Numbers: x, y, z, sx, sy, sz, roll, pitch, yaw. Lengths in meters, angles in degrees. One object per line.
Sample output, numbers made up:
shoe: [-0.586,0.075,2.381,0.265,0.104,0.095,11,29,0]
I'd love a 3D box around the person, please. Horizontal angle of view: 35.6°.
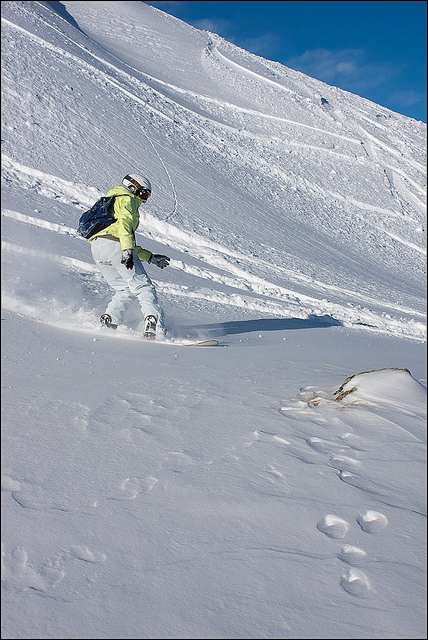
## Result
person: [-0.794,-0.653,6.469,0.689,1.492,0.939,6,10,-26]

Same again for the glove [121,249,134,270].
glove: [-0.811,-0.553,6.230,0.159,0.143,0.064,9,-3,5]

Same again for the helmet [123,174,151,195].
helmet: [-0.764,-1.341,6.552,0.238,0.169,0.179,-3,33,-22]

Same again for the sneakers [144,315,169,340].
sneakers: [-0.562,0.085,6.285,0.119,0.140,0.304,-3,-23,1]
